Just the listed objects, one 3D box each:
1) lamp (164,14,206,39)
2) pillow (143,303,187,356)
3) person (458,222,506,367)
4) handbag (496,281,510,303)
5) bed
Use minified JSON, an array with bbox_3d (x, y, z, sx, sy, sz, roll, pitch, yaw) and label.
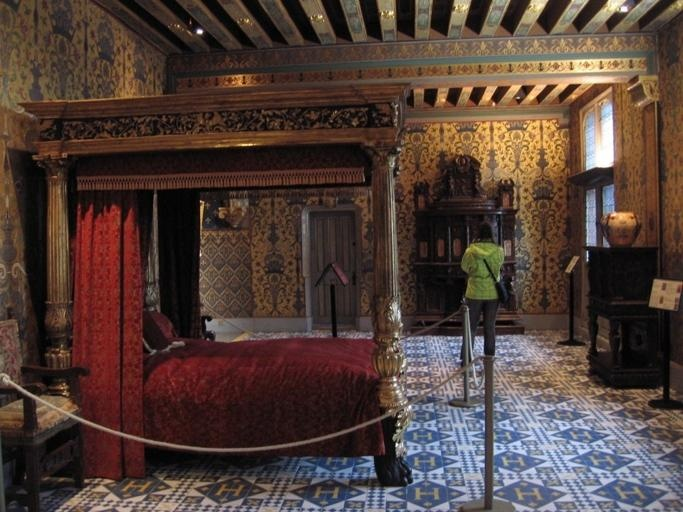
[{"bbox_3d":[-2.187,-3.155,8.132,0.387,0.237,0.780,2,11,19],"label":"lamp"},{"bbox_3d":[-2.217,0.877,7.036,0.547,0.245,0.433,27,24,35],"label":"pillow"},{"bbox_3d":[1.950,0.475,8.138,0.616,1.810,0.643,5,11,32],"label":"person"},{"bbox_3d":[2.412,0.518,8.856,0.105,0.311,0.503,-12,11,23],"label":"handbag"},{"bbox_3d":[-1.387,0.256,6.682,4.774,4.847,2.073,0,-2,5],"label":"bed"}]
